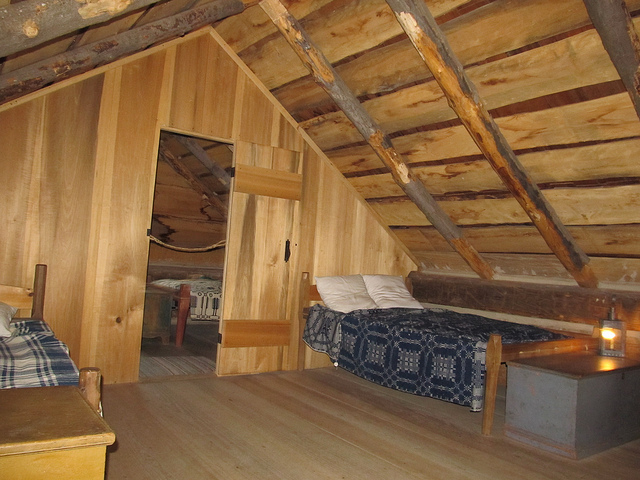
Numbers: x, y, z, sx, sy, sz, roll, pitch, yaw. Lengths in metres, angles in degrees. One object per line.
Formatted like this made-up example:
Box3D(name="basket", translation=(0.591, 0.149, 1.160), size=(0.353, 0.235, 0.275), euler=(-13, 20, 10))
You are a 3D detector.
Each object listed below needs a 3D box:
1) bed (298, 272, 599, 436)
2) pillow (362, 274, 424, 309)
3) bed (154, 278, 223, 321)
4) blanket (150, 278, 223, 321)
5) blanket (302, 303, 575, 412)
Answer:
Box3D(name="bed", translation=(0.811, 0.820, 3.862), size=(1.382, 0.632, 1.936), euler=(-1, 0, -34))
Box3D(name="pillow", translation=(0.709, 0.486, 4.629), size=(0.630, 0.443, 0.150), euler=(18, 10, 37))
Box3D(name="bed", translation=(-1.742, 0.880, 6.120), size=(0.760, 0.575, 1.319), euler=(6, -1, -15))
Box3D(name="blanket", translation=(-1.733, 0.743, 6.265), size=(1.239, 0.204, 1.000), euler=(-2, 15, -30))
Box3D(name="blanket", translation=(1.068, 0.873, 3.936), size=(1.720, 0.353, 1.608), euler=(7, 5, 36))
